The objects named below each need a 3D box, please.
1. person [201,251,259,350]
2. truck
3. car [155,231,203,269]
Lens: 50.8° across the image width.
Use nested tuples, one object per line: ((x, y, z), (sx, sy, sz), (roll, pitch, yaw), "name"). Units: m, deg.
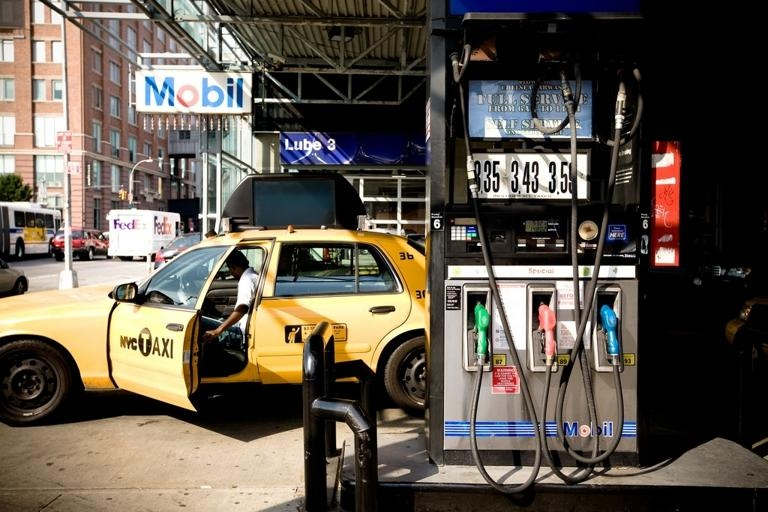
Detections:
((-1.970, 0.615, 10.274), (0.710, 1.316, 0.962), (1, -11, 9), "person")
((-10.123, -0.922, 33.888), (2.471, 2.427, 4.496), (1, 4, 4), "truck")
((-5.139, -0.180, 19.950), (0.972, 0.771, 2.204), (0, 10, 2), "car")
